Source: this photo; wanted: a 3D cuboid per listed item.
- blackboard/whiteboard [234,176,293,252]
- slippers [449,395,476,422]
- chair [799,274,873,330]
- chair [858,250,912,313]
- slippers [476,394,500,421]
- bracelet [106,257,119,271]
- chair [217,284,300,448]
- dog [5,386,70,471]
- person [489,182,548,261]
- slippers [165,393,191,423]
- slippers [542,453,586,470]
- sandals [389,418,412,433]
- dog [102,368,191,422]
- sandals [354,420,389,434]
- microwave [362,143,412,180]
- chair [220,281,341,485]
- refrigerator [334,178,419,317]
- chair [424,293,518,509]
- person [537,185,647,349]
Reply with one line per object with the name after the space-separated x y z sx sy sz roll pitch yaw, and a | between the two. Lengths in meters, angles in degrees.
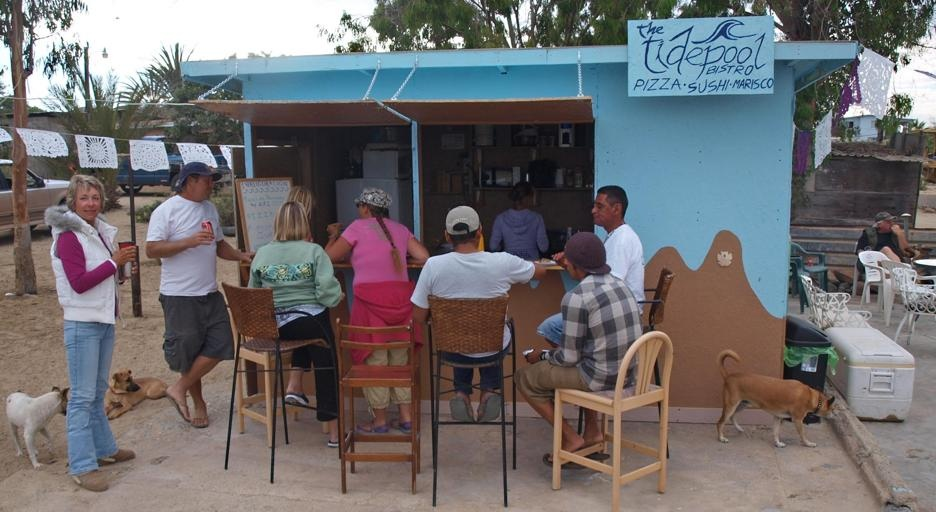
-3.097 -0.658 11.158 0.771 1.351 0.638 1 0 16 | blackboard/whiteboard
-0.076 1.989 9.765 0.207 0.451 0.316 -7 0 9 | slippers
6.339 0.875 12.815 0.791 0.784 1.440 1 7 11 | chair
8.458 0.418 15.349 0.911 1.485 0.606 1 0 15 | chair
0.281 1.988 9.790 0.231 0.432 0.155 3 3 1 | slippers
-4.729 0.119 9.831 0.153 0.142 0.079 -5 9 -34 | bracelet
-2.919 1.347 10.294 1.009 2.758 1.278 1 -1 3 | chair
-6.098 2.276 10.682 0.923 1.385 0.813 0 -3 6 | dog
0.837 -0.407 12.118 0.683 1.520 1.270 1 0 -2 | person
-4.303 2.258 11.009 0.156 0.421 0.150 -28 7 2 | slippers
1.299 2.827 10.082 0.553 0.148 0.219 10 10 31 | slippers
-0.928 2.350 10.362 0.160 0.196 0.423 0 4 -14 | sandals
-5.226 2.095 11.863 0.656 0.588 1.303 -9 6 40 | dog
-1.343 2.379 10.370 0.451 0.132 0.178 3 -2 13 | sandals
-1.307 -1.641 12.976 0.964 0.596 0.944 -6 10 -28 | microwave
-2.666 1.671 10.396 1.158 2.567 1.242 2 5 34 | chair
-1.305 0.483 10.700 1.475 2.778 1.226 0 14 -8 | refrigerator
0.068 1.804 10.079 1.225 2.688 1.481 -1 8 -2 | chair
1.849 0.133 10.737 1.335 2.283 0.831 0 1 -10 | person
